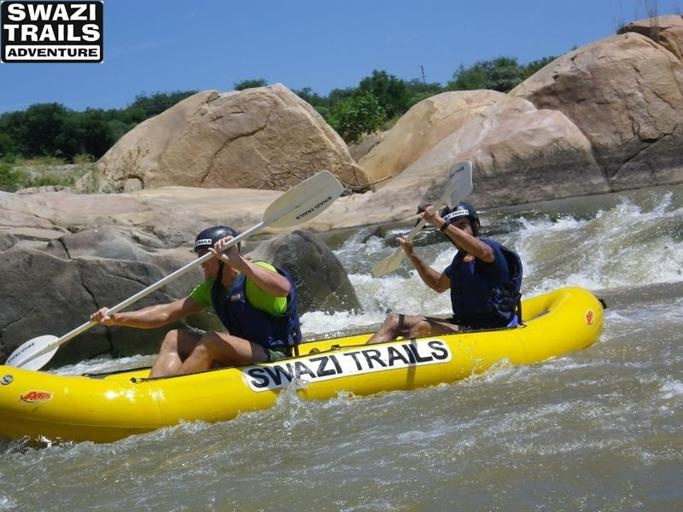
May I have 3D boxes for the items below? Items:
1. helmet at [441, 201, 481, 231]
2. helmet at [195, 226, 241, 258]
[{"bbox_3d":[1.008,-0.346,6.928,0.260,0.233,0.296,-2,38,9],"label":"helmet"},{"bbox_3d":[-1.017,-0.142,6.406,0.313,0.227,0.216,-32,9,-5],"label":"helmet"}]
